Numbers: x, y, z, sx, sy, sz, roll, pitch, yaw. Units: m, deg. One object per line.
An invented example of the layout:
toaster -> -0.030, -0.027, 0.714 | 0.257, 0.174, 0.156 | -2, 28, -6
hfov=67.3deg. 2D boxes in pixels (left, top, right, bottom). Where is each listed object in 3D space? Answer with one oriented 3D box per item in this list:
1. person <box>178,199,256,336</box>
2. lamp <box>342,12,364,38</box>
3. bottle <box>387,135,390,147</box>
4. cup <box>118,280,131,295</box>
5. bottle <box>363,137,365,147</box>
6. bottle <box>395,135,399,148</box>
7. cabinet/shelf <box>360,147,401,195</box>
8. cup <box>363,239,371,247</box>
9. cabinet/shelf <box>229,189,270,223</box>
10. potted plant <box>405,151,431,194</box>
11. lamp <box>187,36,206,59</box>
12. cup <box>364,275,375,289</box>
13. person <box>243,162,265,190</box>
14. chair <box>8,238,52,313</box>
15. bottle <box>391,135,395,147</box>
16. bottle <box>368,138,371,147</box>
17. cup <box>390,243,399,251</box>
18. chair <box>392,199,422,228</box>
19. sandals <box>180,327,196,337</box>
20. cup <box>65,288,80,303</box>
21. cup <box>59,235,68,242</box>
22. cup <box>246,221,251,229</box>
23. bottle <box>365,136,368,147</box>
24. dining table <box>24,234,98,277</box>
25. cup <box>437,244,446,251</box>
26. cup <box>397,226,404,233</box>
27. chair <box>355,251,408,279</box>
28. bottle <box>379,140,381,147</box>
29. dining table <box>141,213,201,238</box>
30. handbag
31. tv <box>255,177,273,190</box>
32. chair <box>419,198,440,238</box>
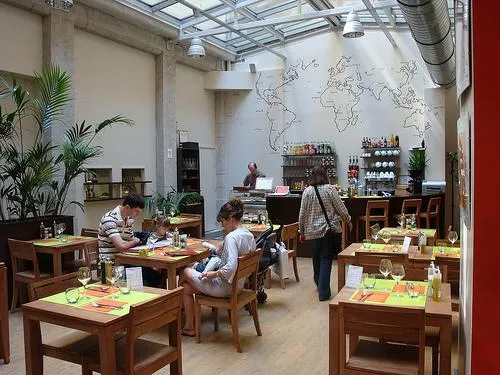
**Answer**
person -> -0.409, 0.956, 4.373 | 0.809, 1.668, 0.676 | 6, -3, 22
lamp -> 2.033, -3.230, 7.367 | 0.366, 0.519, 0.420 | -1, 4, -2
bottle -> 3.567, -1.157, 9.636 | 0.081, 0.253, 0.130 | 0, 4, 14
cup -> -1.070, 0.844, 3.186 | 0.099, 0.124, 0.104 | -1, 0, 0
bottle -> 2.998, -1.174, 9.832 | 0.091, 0.276, 0.194 | 0, 4, 13
bottle -> 3.778, -1.168, 9.572 | 0.119, 0.287, 0.059 | -1, 4, 2
cabinet/shelf -> 3.405, -0.414, 9.606 | 1.106, 1.602, 0.446 | -1, -3, 23
cup -> 1.418, 0.678, 4.567 | 0.086, 0.092, 0.092 | -2, 5, 0
cabinet/shelf -> 0.091, 0.441, 8.919 | 0.801, 0.839, 0.453 | 4, 9, 6
potted plant -> 4.004, -0.309, 9.085 | 0.450, 1.090, 0.555 | 3, 3, -22
lamp -> -1.186, -3.189, 8.549 | 0.438, 0.507, 0.462 | -1, 0, -3
cup -> 1.027, 0.825, 3.236 | 0.093, 0.092, 0.086 | -4, 10, 1
person -> 0.115, -0.187, 9.988 | 0.530, 0.907, 0.492 | 1, 8, 13
chair -> -3.012, 1.247, 5.183 | 0.409, 0.813, 0.395 | 15, -11, -6
bottle -> 3.660, -1.183, 9.576 | 0.114, 0.316, 0.161 | 2, 5, 34
bottle -> 3.132, -1.162, 9.778 | 0.099, 0.263, 0.200 | 1, 4, 17
cup -> 1.746, 0.712, 4.499 | 0.082, 0.072, 0.078 | -1, 5, 0
chair -> 3.229, 0.628, 7.662 | 0.485, 0.751, 0.428 | 0, -4, -34
sandals -> -0.713, 1.671, 4.361 | 0.180, 0.075, 0.067 | 2, 3, 20
cup -> -1.436, 0.865, 3.045 | 0.097, 0.116, 0.099 | 0, 3, 0
cup -> -2.717, 0.743, 5.460 | 0.101, 0.085, 0.095 | 2, -3, 0
cup -> -0.023, 0.623, 6.189 | 0.084, 0.088, 0.088 | 0, 2, 0
bottle -> 3.069, -1.178, 9.804 | 0.067, 0.263, 0.190 | 1, 4, 19
dining table -> -2.646, 0.843, 5.257 | 0.636, 0.677, 0.667 | -1, -2, 28
cup -> 2.260, 0.702, 4.410 | 0.089, 0.118, 0.096 | -1, 8, 0
cup -> 2.267, 0.635, 5.640 | 0.054, 0.060, 0.103 | 7, -1, 10
chair -> 1.394, 0.803, 4.132 | 0.462, 0.249, 0.326 | 2, 4, 27
bottle -> 3.364, -1.127, 9.695 | 0.084, 0.182, 0.146 | 1, 4, 20
dining table -> -1.439, 0.691, 7.456 | 0.708, 0.727, 0.736 | 0, 0, 27
handbag -> 1.143, 0.497, 5.504 | 0.377, 1.025, 0.338 | 0, 4, 10
tv -> 0.340, -0.082, 8.931 | 0.288, 0.275, 0.116 | -2, -16, 19
chair -> 3.960, 0.705, 8.307 | 0.512, 0.823, 0.469 | -14, 2, 44
